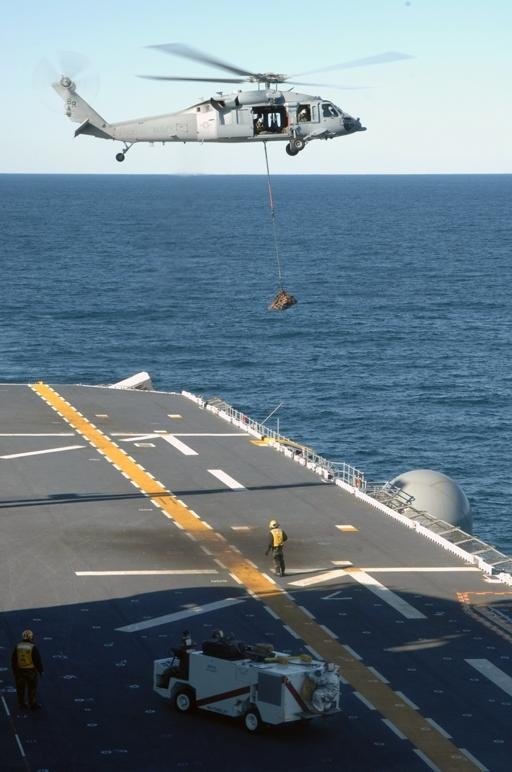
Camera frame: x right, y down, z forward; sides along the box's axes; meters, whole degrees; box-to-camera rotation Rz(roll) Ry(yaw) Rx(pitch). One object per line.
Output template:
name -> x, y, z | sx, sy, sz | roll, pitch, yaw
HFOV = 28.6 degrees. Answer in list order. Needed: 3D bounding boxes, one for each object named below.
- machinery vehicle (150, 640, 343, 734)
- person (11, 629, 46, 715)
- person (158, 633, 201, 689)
machinery vehicle -> -0.248, 6.763, 23.016 | 4.182, 1.551, 1.923 | -3, -6, 39
person -> -5.407, 6.615, 23.603 | 0.648, 2.077, 1.509 | 1, 11, -12
person -> -1.890, 6.458, 23.496 | 0.704, 1.061, 0.747 | 20, -22, -41
